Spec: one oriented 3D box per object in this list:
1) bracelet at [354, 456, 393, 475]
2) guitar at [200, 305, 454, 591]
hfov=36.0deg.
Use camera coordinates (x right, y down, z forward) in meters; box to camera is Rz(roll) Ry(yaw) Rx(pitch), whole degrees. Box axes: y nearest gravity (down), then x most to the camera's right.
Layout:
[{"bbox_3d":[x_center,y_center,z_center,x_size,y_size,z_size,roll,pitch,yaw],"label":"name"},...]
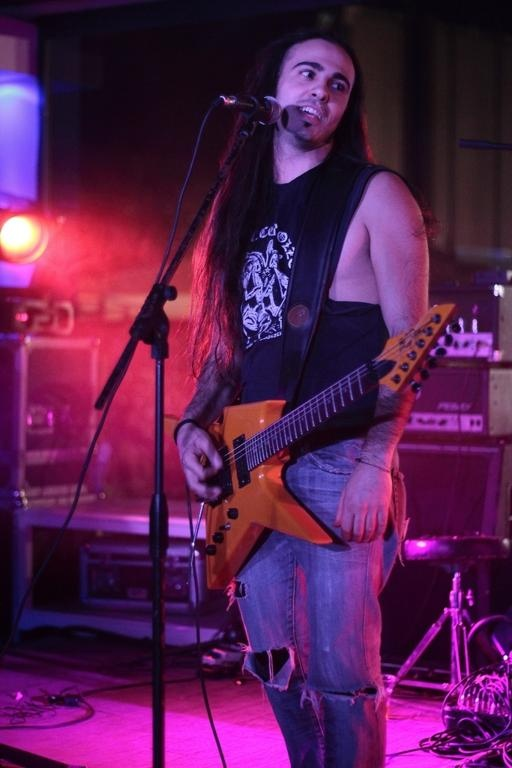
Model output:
[{"bbox_3d":[0.182,0.124,1.234,0.053,0.027,0.007,23,-26,27],"label":"bracelet"},{"bbox_3d":[0.085,0.141,1.330,0.128,0.468,0.620,3,-5,-32],"label":"guitar"}]
